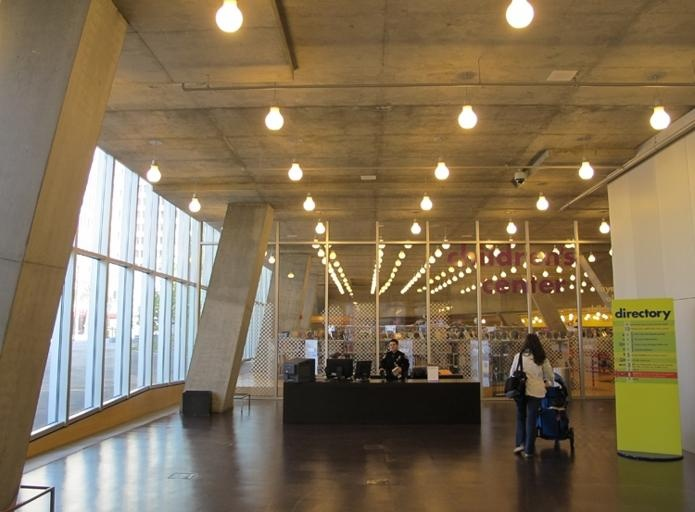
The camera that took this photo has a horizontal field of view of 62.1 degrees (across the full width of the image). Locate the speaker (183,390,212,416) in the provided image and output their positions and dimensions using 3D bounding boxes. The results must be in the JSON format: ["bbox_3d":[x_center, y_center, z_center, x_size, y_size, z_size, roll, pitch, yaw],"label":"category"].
[{"bbox_3d":[-3.133,3.090,12.062,0.497,0.416,0.163,-1,-11,3],"label":"speaker"}]

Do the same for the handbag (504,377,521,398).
[{"bbox_3d":[2.453,1.939,8.535,0.214,0.305,0.128,-1,-3,13],"label":"handbag"}]

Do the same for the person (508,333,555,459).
[{"bbox_3d":[2.744,2.071,8.642,0.644,1.781,0.470,-1,-3,13],"label":"person"}]

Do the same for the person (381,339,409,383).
[{"bbox_3d":[0.970,2.097,11.829,0.543,0.825,1.305,0,-3,3],"label":"person"}]

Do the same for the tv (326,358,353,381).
[{"bbox_3d":[-0.145,2.224,11.226,0.381,0.311,0.137,1,-17,5],"label":"tv"}]
